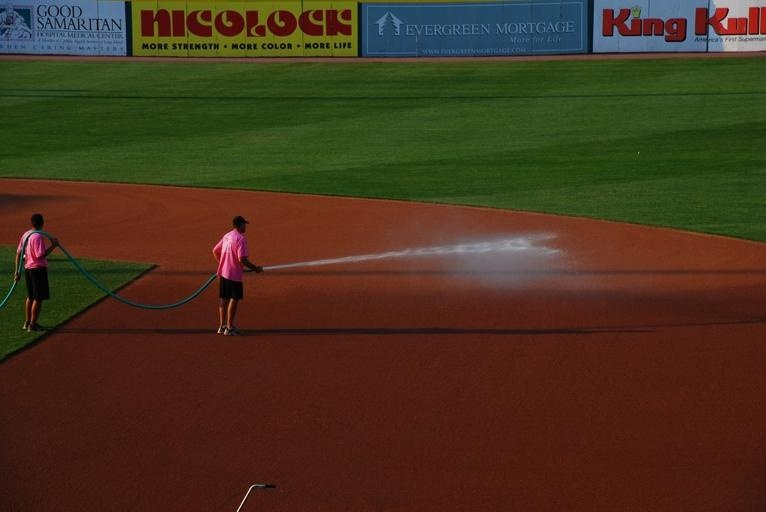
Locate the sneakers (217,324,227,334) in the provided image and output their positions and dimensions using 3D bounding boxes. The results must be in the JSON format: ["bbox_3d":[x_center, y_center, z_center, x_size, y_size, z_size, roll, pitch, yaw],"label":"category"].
[{"bbox_3d":[-3.887,1.793,31.369,0.230,0.227,0.561,0,-2,-5],"label":"sneakers"}]

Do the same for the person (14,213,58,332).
[{"bbox_3d":[-8.477,0.412,31.458,0.972,2.634,1.165,-5,19,-13],"label":"person"}]

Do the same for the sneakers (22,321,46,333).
[{"bbox_3d":[-8.477,1.745,31.421,0.598,0.230,0.207,0,6,-7],"label":"sneakers"}]
